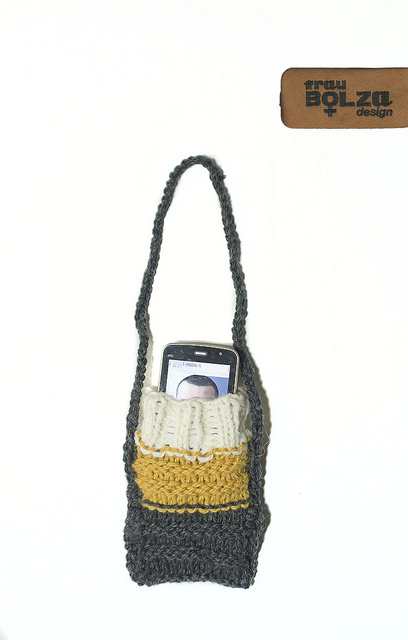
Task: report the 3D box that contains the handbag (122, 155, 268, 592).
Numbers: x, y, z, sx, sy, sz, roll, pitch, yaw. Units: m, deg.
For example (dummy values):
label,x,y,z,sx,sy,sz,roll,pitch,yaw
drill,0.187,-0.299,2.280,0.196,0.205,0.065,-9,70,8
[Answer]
label,x,y,z,sx,sy,sz,roll,pitch,yaw
handbag,-0.015,0.087,0.933,0.224,0.433,0.497,-1,-50,6
